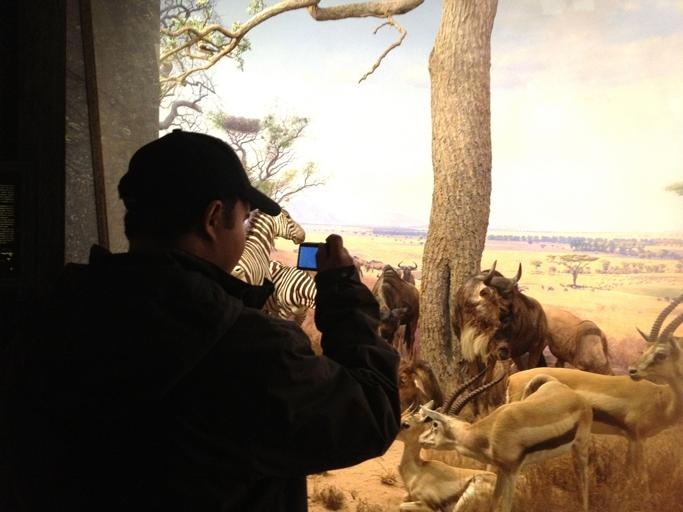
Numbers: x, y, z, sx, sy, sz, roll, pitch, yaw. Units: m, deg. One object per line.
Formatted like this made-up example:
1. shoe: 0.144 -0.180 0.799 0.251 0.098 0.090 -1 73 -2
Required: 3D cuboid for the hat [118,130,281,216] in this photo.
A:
1. hat: -0.526 -0.318 2.307 0.578 0.336 0.426 -5 7 -30
